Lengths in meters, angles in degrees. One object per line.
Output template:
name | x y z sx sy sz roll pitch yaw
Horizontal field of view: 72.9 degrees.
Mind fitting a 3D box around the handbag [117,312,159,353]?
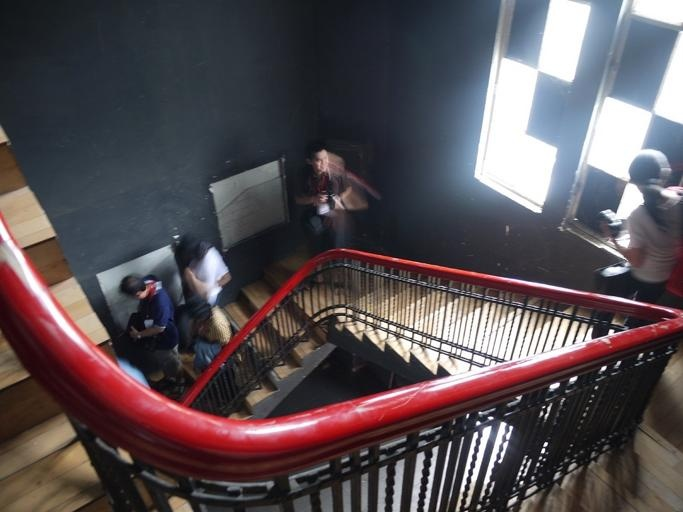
handbag | -2.726 0.993 6.195 0.299 0.550 0.296 39 59 6

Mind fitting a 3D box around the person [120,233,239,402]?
person | -2.140 0.770 5.970 1.107 2.041 0.761 -30 76 -21

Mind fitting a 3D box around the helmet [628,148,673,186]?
helmet | 2.471 -0.713 3.722 0.297 0.291 0.239 -9 4 19

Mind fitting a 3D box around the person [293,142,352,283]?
person | -0.254 -0.834 6.737 0.533 1.743 0.651 18 33 39
